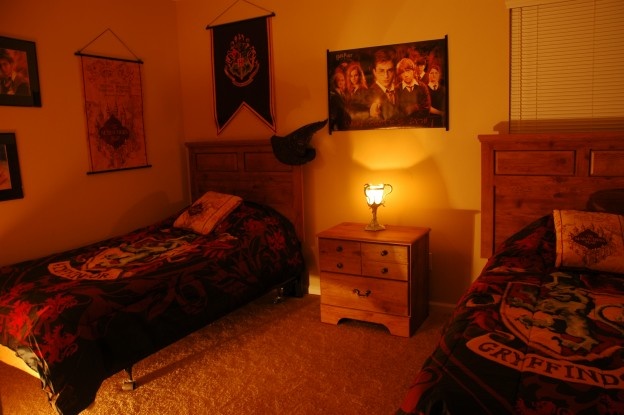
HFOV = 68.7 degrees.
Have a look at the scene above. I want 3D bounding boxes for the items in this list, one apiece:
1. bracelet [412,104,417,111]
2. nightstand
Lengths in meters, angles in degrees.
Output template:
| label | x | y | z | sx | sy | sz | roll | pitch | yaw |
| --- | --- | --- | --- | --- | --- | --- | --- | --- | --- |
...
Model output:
| label | x | y | z | sx | sy | sz | roll | pitch | yaw |
| --- | --- | --- | --- | --- | --- | --- | --- | --- | --- |
| bracelet | 0.915 | -0.898 | 4.093 | 0.047 | 0.044 | 0.011 | 4 | 2 | 25 |
| nightstand | 0.554 | 0.445 | 4.230 | 1.149 | 1.068 | 0.845 | 1 | 4 | 27 |
